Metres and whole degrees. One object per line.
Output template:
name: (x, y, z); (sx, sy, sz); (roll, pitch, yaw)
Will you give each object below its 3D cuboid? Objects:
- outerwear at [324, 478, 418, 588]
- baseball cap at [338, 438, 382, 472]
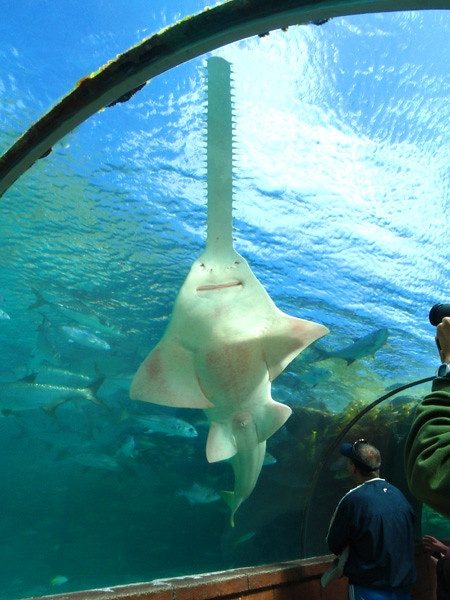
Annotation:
outerwear: (1.097, 1.786, 4.006); (0.643, 0.778, 0.219); (-1, -4, 8)
baseball cap: (1.090, 1.247, 4.278); (0.228, 0.323, 0.176); (-38, -32, -11)
